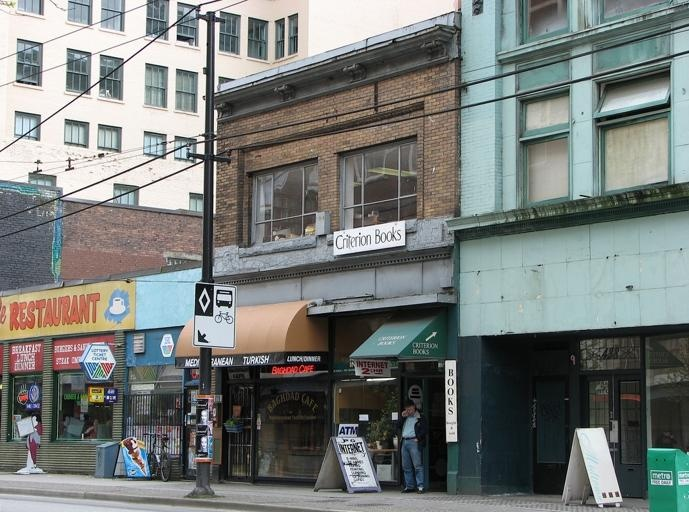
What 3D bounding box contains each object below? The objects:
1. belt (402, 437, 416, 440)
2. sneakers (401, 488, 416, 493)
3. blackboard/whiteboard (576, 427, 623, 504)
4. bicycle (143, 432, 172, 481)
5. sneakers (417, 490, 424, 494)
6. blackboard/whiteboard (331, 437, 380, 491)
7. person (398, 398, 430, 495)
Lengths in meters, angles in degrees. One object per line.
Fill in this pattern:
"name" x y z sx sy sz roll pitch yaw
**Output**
"belt" 1.655 4.648 29.922 0.329 0.089 0.067 -4 -12 16
"sneakers" 1.613 5.979 29.919 0.362 0.164 0.126 7 -9 -15
"blackboard/whiteboard" 5.740 4.823 26.797 1.024 1.763 0.442 7 -13 -32
"bicycle" -5.538 6.017 35.264 0.739 1.533 2.273 2 -12 -9
"sneakers" 1.934 5.961 29.716 0.119 0.119 0.243 -10 -16 38
"blackboard/whiteboard" 0.259 5.316 29.907 1.222 1.401 0.439 9 -14 -37
"person" 1.709 4.869 30.062 0.585 2.337 0.622 0 -11 0
